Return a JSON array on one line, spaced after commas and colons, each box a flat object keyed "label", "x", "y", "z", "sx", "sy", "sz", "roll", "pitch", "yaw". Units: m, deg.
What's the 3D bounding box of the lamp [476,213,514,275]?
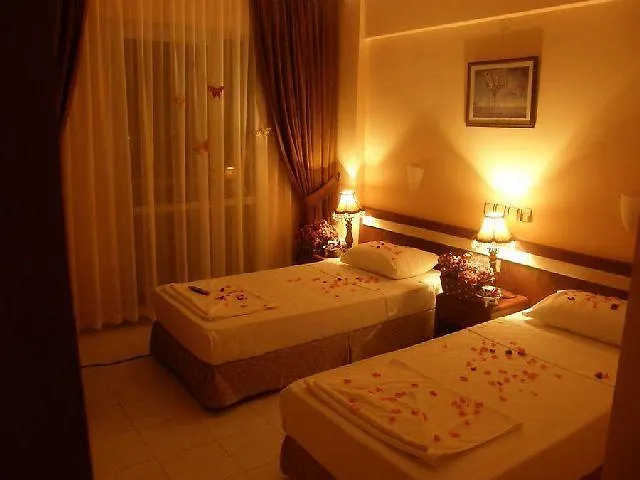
[{"label": "lamp", "x": 1.411, "y": 0.033, "z": 4.054, "sx": 0.289, "sy": 0.495, "sz": 0.292, "roll": -2, "pitch": 14, "yaw": 6}]

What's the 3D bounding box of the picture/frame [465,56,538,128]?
[{"label": "picture/frame", "x": 1.511, "y": -1.224, "z": 4.081, "sx": 0.025, "sy": 0.482, "sz": 0.589, "roll": -10, "pitch": 15, "yaw": -32}]

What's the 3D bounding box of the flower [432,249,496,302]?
[{"label": "flower", "x": 1.280, "y": 0.251, "z": 4.140, "sx": 0.571, "sy": 0.359, "sz": 0.638, "roll": -5, "pitch": 0, "yaw": 16}]

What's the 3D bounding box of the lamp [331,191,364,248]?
[{"label": "lamp", "x": 0.322, "y": -0.237, "z": 5.525, "sx": 0.305, "sy": 0.633, "sz": 0.466, "roll": 2, "pitch": 13, "yaw": 8}]

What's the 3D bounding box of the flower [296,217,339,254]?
[{"label": "flower", "x": -0.017, "y": -0.081, "z": 5.530, "sx": 0.314, "sy": 0.367, "sz": 0.402, "roll": -4, "pitch": 15, "yaw": -14}]

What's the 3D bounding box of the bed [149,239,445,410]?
[{"label": "bed", "x": -0.259, "y": 0.321, "z": 4.077, "sx": 1.906, "sy": 0.711, "sz": 1.096, "roll": -7, "pitch": 12, "yaw": -34}]
